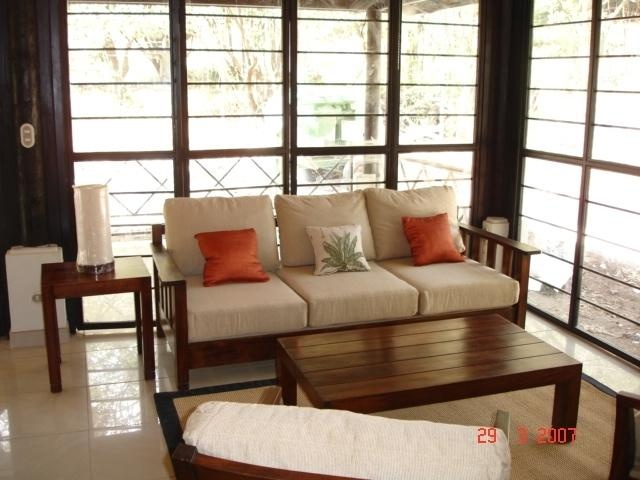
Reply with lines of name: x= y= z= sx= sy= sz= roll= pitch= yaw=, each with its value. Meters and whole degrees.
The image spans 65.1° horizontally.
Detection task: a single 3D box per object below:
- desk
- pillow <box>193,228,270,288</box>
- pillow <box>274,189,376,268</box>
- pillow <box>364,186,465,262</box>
desk: x=-1.489 y=0.574 z=3.414 sx=0.724 sy=0.809 sz=0.412 roll=-9 pitch=13 yaw=-18
pillow: x=-0.633 y=0.124 z=3.622 sx=0.465 sy=0.375 sz=0.266 roll=-8 pitch=13 yaw=-15
pillow: x=0.058 y=-0.127 z=4.031 sx=0.675 sy=0.282 sz=0.491 roll=-7 pitch=42 yaw=10
pillow: x=0.804 y=-0.144 z=4.255 sx=0.827 sy=0.609 sz=0.324 roll=-3 pitch=12 yaw=-8
